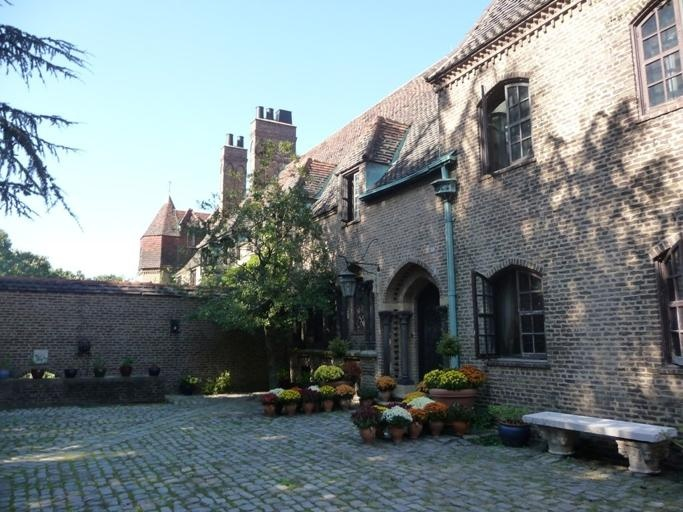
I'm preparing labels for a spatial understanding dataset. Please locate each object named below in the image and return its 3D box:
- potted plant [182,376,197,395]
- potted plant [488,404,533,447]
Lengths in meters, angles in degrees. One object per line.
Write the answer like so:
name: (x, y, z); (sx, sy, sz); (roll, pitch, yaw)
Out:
potted plant: (-6.245, 5.344, 22.881); (0.643, 0.656, 0.645); (0, -5, -16)
potted plant: (3.960, 3.915, 12.942); (0.687, 0.919, 0.878); (-4, -12, 17)
